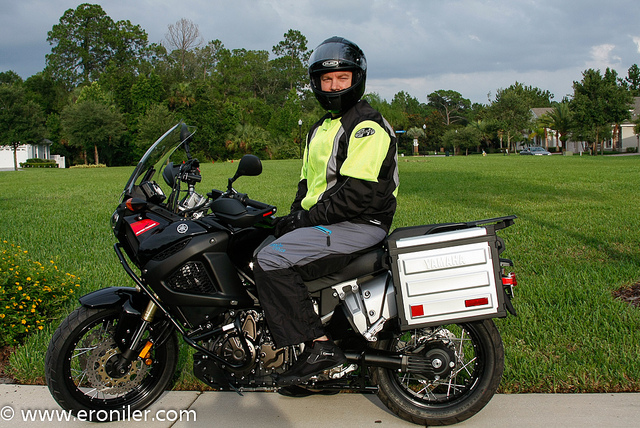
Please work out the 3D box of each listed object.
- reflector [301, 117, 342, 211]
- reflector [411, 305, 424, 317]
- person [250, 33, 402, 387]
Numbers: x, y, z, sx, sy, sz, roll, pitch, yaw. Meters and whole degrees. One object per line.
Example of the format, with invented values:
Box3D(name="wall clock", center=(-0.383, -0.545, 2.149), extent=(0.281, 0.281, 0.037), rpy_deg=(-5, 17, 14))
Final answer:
Box3D(name="reflector", center=(0.013, -0.524, 5.679), extent=(0.372, 0.996, 0.370), rpy_deg=(3, 11, 15))
Box3D(name="reflector", center=(0.934, 0.932, 5.270), extent=(0.117, 0.095, 0.037), rpy_deg=(1, -5, -4))
Box3D(name="person", center=(0.039, -0.068, 5.506), extent=(1.294, 3.475, 0.899), rpy_deg=(-5, 10, -43))
